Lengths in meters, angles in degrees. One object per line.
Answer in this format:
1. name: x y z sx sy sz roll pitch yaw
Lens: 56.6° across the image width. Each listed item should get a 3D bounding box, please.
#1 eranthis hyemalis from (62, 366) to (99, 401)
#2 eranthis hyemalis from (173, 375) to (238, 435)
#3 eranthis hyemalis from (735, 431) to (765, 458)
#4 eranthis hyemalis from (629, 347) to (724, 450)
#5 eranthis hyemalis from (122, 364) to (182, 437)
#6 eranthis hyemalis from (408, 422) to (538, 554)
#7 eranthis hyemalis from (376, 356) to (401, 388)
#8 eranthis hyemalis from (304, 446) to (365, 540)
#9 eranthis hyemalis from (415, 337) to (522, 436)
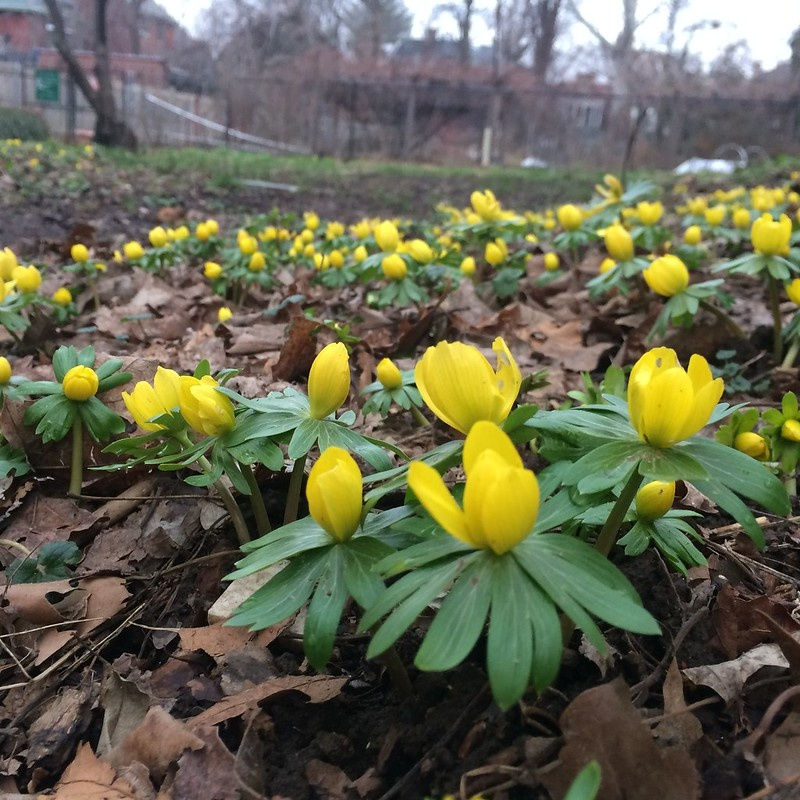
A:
1. eranthis hyemalis: -0.990 -0.049 2.310 0.115 0.114 0.114 2 17 -26
2. eranthis hyemalis: -0.480 0.016 1.819 0.121 0.165 0.102 -17 34 56
3. eranthis hyemalis: 0.976 0.125 2.075 0.064 0.048 0.044 27 51 -7
4. eranthis hyemalis: 0.498 -0.018 1.491 0.188 0.209 0.201 7 12 10
5. eranthis hyemalis: -0.647 -0.002 2.034 0.176 0.099 0.190 -23 54 -3
6. eranthis hyemalis: 0.154 0.150 1.332 0.225 0.233 0.215 16 23 18
7. eranthis hyemalis: -0.031 -0.095 2.586 0.083 0.123 0.103 4 20 1
8. eranthis hyemalis: -0.133 0.203 1.509 0.127 0.185 0.123 4 -4 -45
9. eranthis hyemalis: 0.137 -0.026 1.526 0.216 0.214 0.162 4 20 1
